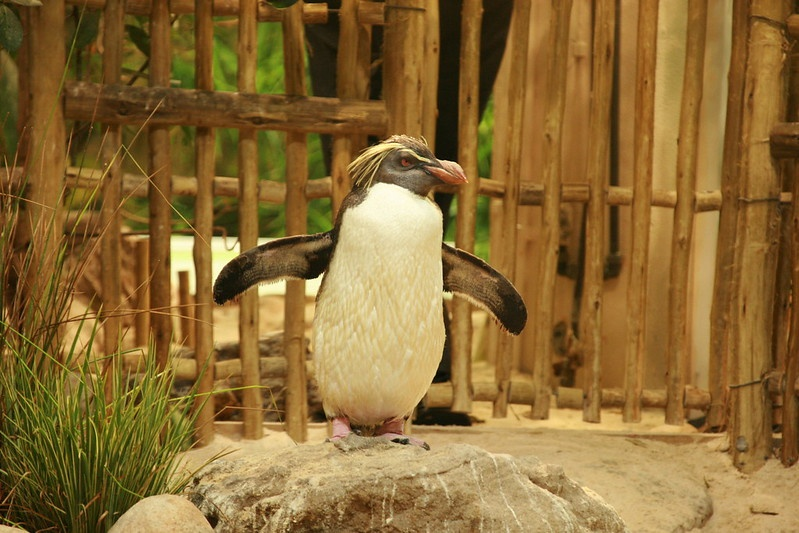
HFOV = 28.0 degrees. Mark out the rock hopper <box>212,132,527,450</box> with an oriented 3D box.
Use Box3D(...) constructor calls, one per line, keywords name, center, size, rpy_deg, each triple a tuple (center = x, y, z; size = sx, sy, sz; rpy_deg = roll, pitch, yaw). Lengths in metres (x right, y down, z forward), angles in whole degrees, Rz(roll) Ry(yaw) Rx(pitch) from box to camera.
Box3D(name="rock hopper", center=(-0.093, 0.169, 9.881), size=(2.018, 1.922, 1.097), rpy_deg=(4, -3, -21))
